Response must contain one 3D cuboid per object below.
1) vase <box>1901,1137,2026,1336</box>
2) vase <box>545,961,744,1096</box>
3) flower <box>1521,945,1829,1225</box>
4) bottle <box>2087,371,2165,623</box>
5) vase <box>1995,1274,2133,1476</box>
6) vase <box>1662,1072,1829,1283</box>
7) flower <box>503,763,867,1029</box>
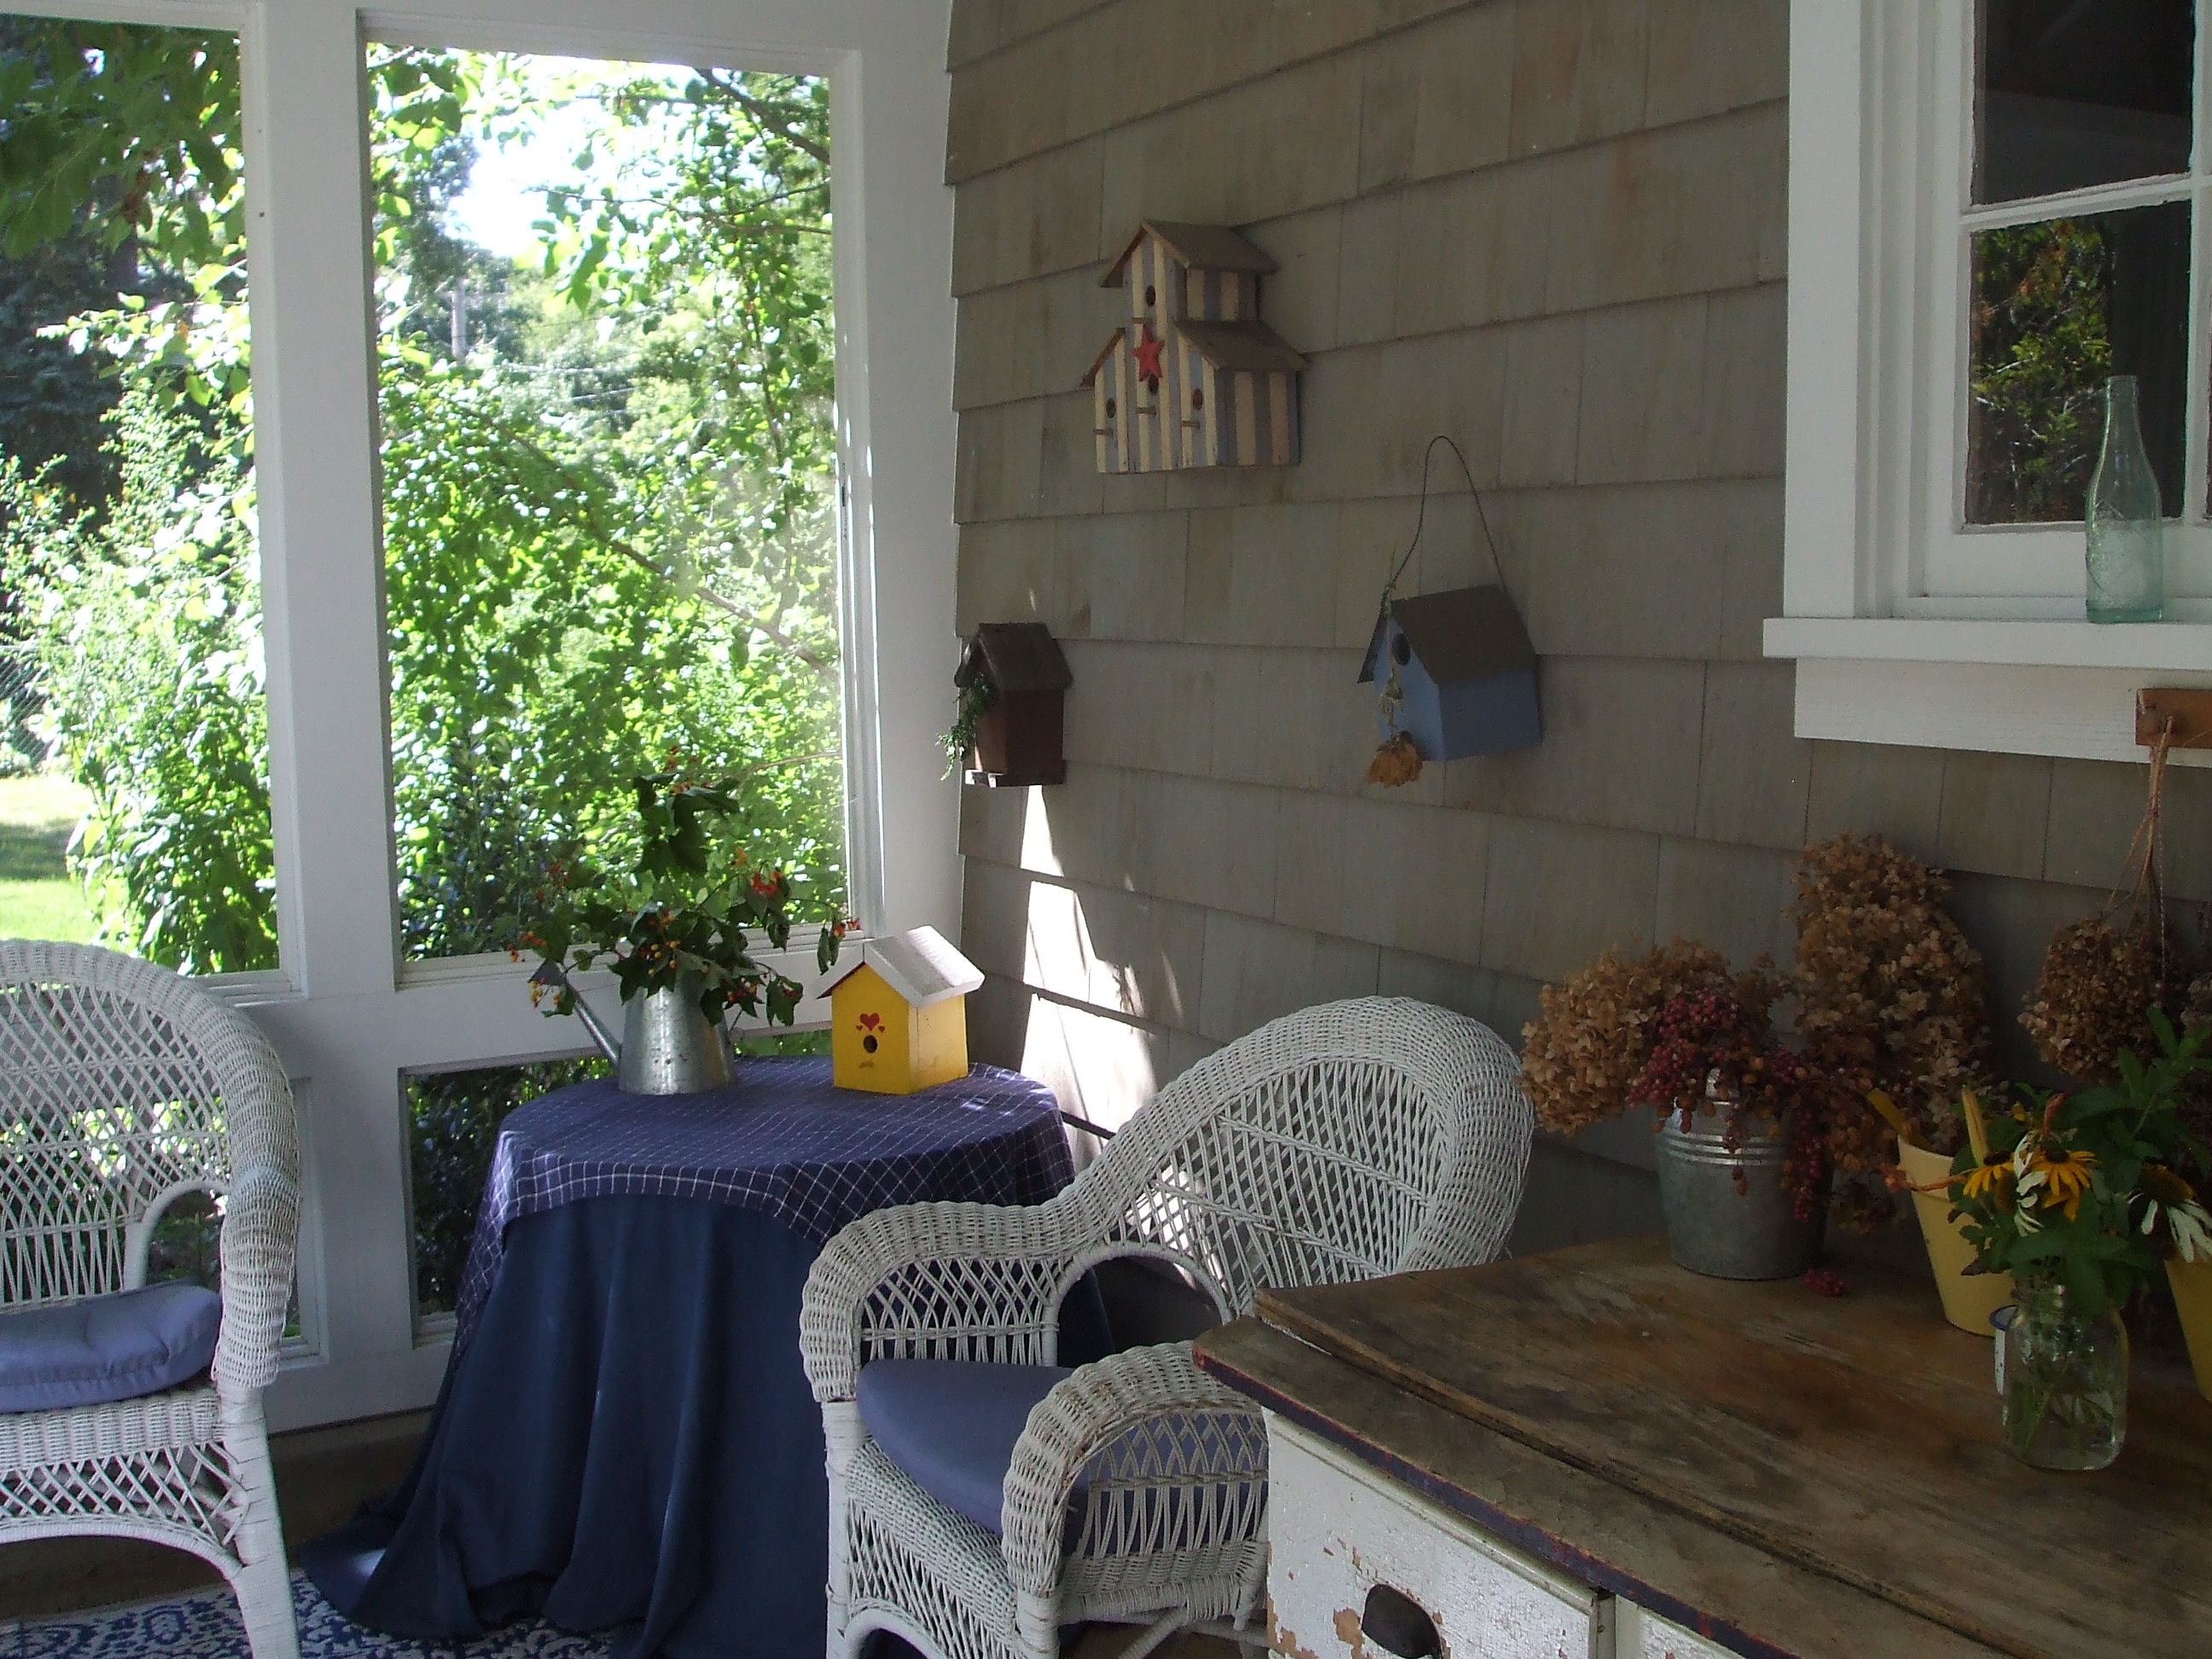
[{"bbox_3d":[0.833,0.401,1.712,0.117,0.152,0.134,-1,3,-8],"label":"vase"},{"bbox_3d":[-0.853,0.317,3.107,0.298,0.267,0.174,0,9,-2],"label":"vase"},{"bbox_3d":[0.613,0.225,1.894,0.278,0.203,0.316,-25,7,-42],"label":"flower"},{"bbox_3d":[1.012,-0.333,1.717,0.059,0.240,0.082,2,10,45],"label":"bottle"},{"bbox_3d":[0.829,0.456,1.503,0.100,0.173,0.102,-7,10,-1],"label":"vase"},{"bbox_3d":[0.706,0.401,1.907,0.184,0.179,0.219,12,-2,1],"label":"vase"},{"bbox_3d":[-0.773,0.153,3.131,0.312,0.254,0.379,-11,32,-36],"label":"flower"}]
